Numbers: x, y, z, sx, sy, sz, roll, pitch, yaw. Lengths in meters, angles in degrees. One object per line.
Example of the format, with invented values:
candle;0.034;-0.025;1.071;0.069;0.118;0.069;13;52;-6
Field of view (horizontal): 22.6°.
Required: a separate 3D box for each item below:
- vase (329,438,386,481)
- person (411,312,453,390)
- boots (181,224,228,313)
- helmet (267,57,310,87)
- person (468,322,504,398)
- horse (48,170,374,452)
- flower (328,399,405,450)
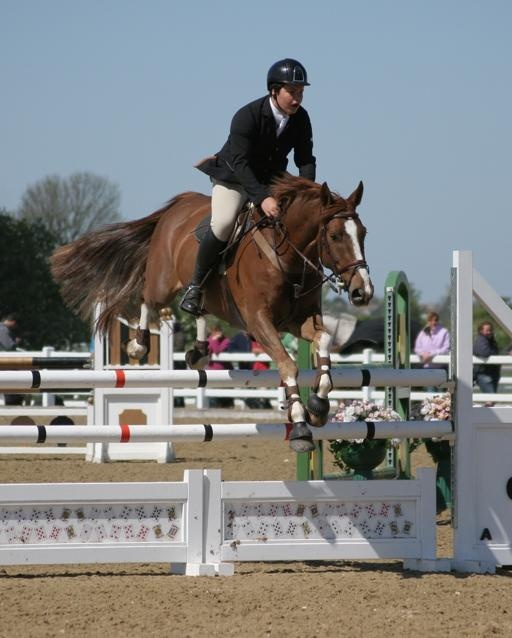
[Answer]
vase;0.628;0.815;7.585;0.314;0.302;0.315;0;3;32
person;1.771;0.328;12.927;0.362;0.725;0.297;0;-6;18
boots;-0.283;-0.221;6.581;0.152;0.561;0.155;24;35;-6
helmet;0.149;-1.246;6.444;0.206;0.140;0.152;1;1;14
person;2.238;0.419;12.461;0.369;0.432;1.180;-7;-43;6
horse;-0.272;-0.219;7.061;0.449;1.278;2.509;-5;13;-37
flower;0.656;0.614;7.505;0.335;0.213;0.338;1;-6;-8
